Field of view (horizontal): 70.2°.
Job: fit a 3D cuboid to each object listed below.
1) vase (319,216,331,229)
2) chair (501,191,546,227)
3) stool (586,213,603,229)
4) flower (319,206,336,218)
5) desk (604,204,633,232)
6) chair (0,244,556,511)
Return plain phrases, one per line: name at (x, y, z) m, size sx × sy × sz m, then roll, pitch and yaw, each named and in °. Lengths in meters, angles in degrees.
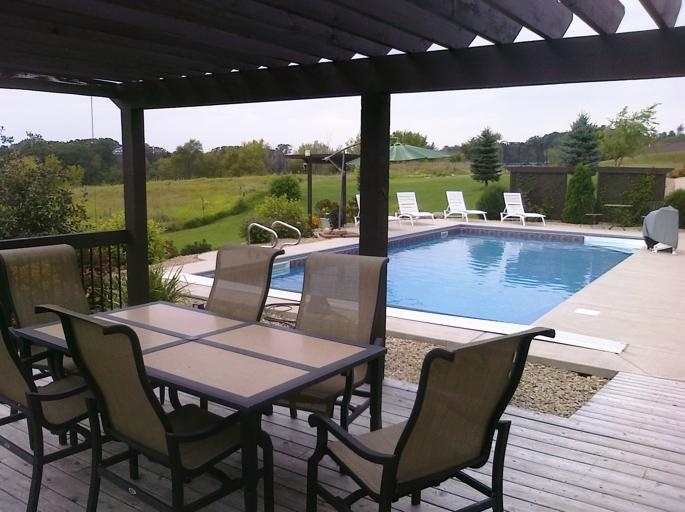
vase at (-0.529, -0.998, 14.820) m, size 0.214 × 0.281 × 0.414 m, roll -16°, pitch 11°, yaw -40°
chair at (6.122, -1.646, 16.963) m, size 1.143 × 1.116 × 1.939 m, roll 3°, pitch 6°, yaw 18°
stool at (8.405, -1.187, 16.231) m, size 0.461 × 0.323 × 0.459 m, roll -2°, pitch 2°, yaw -1°
flower at (-0.498, -1.492, 16.978) m, size 0.597 × 0.430 × 0.687 m, roll -4°, pitch 10°, yaw -16°
desk at (9.097, -1.305, 16.045) m, size 0.836 × 1.017 × 0.444 m, roll 14°, pitch 11°, yaw 43°
chair at (-0.648, 0.764, 2.929) m, size 2.801 × 0.990 × 1.086 m, roll 4°, pitch 7°, yaw 29°
